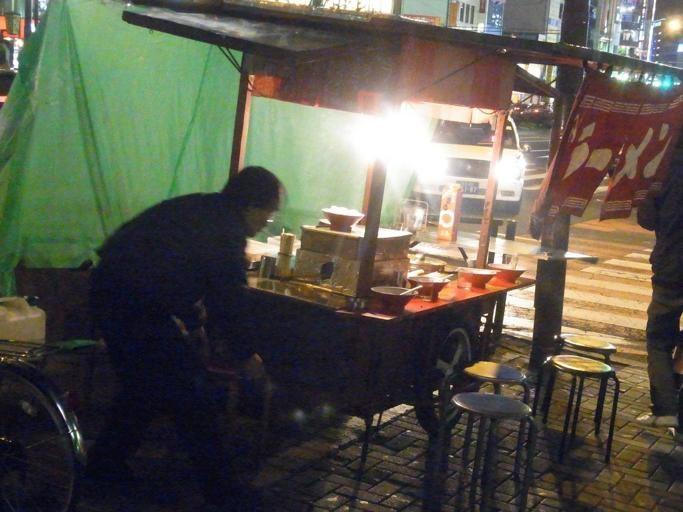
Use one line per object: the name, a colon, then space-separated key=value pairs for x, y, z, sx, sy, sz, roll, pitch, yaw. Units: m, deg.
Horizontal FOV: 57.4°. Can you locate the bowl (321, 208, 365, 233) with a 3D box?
bowl: x=-0.004 y=-0.305 z=4.952 sx=0.238 sy=0.095 sz=0.239 roll=2 pitch=1 yaw=0

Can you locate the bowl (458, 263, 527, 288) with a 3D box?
bowl: x=1.354 y=0.179 z=5.726 sx=0.688 sy=0.155 sz=0.308 roll=-6 pitch=13 yaw=-41
